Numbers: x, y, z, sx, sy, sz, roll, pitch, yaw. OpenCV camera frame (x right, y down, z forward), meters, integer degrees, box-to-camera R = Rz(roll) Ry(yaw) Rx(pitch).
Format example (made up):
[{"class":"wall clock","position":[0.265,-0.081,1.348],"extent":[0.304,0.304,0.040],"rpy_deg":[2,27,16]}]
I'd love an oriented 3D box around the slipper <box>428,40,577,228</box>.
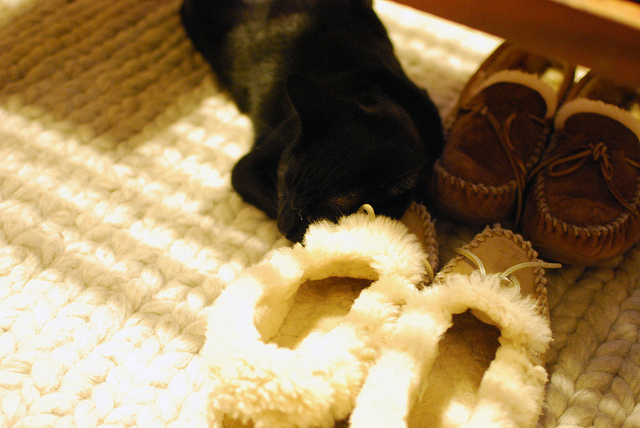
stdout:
[{"class":"slipper","position":[0.459,-0.181,1.649],"extent":[0.281,0.206,0.564],"rpy_deg":[23,86,27]}]

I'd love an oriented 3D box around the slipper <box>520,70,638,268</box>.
[{"class":"slipper","position":[0.661,-0.067,1.582],"extent":[0.245,0.190,0.525],"rpy_deg":[19,81,24]}]

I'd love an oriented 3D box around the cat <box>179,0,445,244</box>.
[{"class":"cat","position":[-0.045,-0.309,1.568],"extent":[0.408,0.284,0.706],"rpy_deg":[-17,54,-30]}]
